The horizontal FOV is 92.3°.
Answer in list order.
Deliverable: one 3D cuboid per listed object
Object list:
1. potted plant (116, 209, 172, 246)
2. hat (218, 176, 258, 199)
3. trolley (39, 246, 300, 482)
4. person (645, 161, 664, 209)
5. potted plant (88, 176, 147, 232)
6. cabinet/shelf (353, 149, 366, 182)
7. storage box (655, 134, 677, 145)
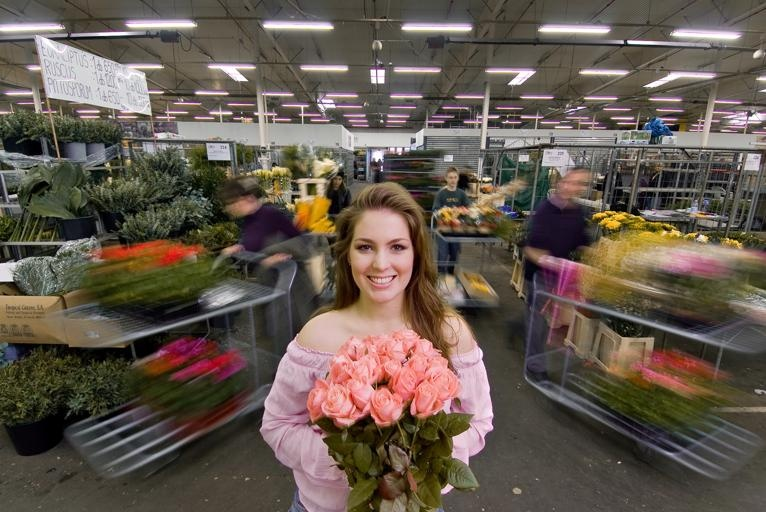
[{"bbox_3d":[-2.828,-0.372,4.316,0.414,0.278,0.363,-5,9,-29],"label":"potted plant"},{"bbox_3d":[-1.689,-0.808,4.241,0.339,0.168,0.285,-7,14,19],"label":"hat"},{"bbox_3d":[-1.898,0.909,3.489,1.262,1.515,1.843,4,8,34],"label":"trolley"},{"bbox_3d":[5.817,-1.538,7.911,0.302,0.993,1.018,10,16,33],"label":"person"},{"bbox_3d":[-3.147,-0.636,4.525,0.690,0.652,0.671,0,1,-2],"label":"potted plant"},{"bbox_3d":[-1.669,-6.180,25.504,0.945,1.702,1.292,0,4,-3],"label":"cabinet/shelf"},{"bbox_3d":[6.118,-2.544,7.960,0.370,0.188,0.485,0,17,4],"label":"storage box"}]
